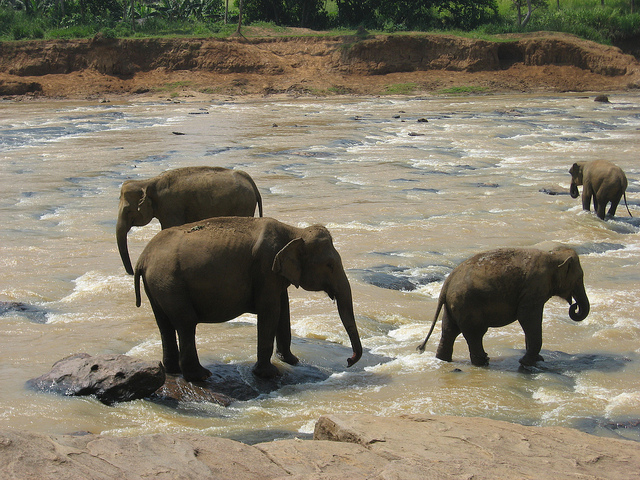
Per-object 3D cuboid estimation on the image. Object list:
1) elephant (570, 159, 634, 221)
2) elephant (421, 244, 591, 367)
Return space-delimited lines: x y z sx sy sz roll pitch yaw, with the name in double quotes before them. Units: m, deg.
"elephant" 7.793 -1.406 33.858 0.818 1.581 1.508 -7 14 -23
"elephant" 4.188 1.499 27.152 4.180 2.546 1.895 -3 9 -19
